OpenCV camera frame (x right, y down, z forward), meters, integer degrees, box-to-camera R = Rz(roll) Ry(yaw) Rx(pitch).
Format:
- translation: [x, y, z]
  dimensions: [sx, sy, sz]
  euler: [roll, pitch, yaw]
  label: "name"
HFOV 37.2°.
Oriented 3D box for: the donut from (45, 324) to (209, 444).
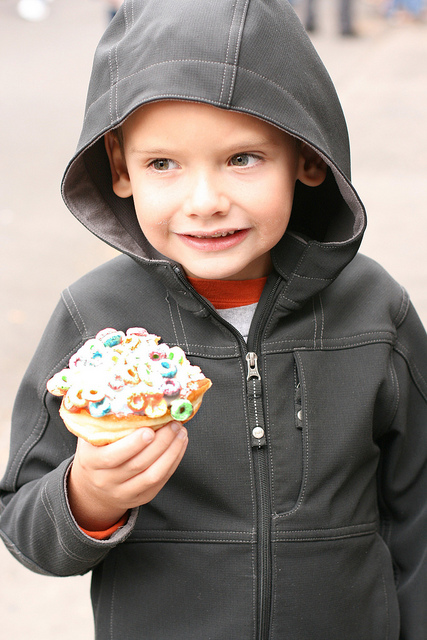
- translation: [-0.133, 0.092, 0.958]
  dimensions: [0.206, 0.091, 0.227]
  euler: [-17, 33, -21]
  label: "donut"
